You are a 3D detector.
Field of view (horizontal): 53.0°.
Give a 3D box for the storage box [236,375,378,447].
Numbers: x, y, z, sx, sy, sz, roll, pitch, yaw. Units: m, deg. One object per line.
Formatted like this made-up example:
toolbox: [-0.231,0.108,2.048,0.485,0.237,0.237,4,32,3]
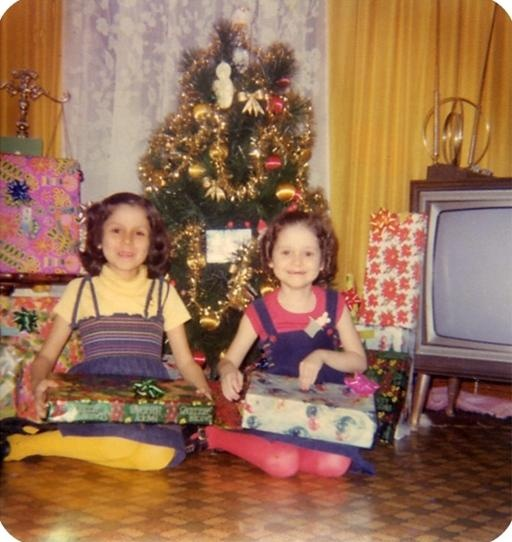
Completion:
storage box: [0.121,0.335,1.246,0.326,0.156,0.206,1,-4,7]
